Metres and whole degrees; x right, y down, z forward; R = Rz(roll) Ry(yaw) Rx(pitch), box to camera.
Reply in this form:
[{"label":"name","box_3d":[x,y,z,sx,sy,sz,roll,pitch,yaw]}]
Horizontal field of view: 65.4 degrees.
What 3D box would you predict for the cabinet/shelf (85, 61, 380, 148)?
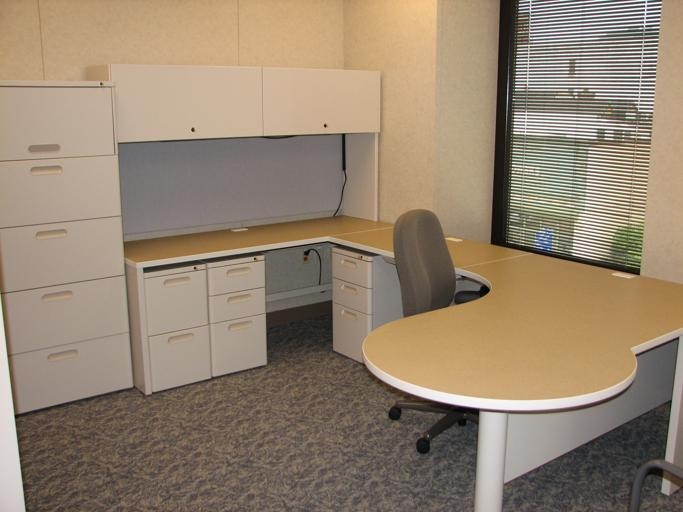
[{"label":"cabinet/shelf","box_3d":[-0.609,-1.095,3.783,1.962,0.529,0.213,-12,22,-28]}]
